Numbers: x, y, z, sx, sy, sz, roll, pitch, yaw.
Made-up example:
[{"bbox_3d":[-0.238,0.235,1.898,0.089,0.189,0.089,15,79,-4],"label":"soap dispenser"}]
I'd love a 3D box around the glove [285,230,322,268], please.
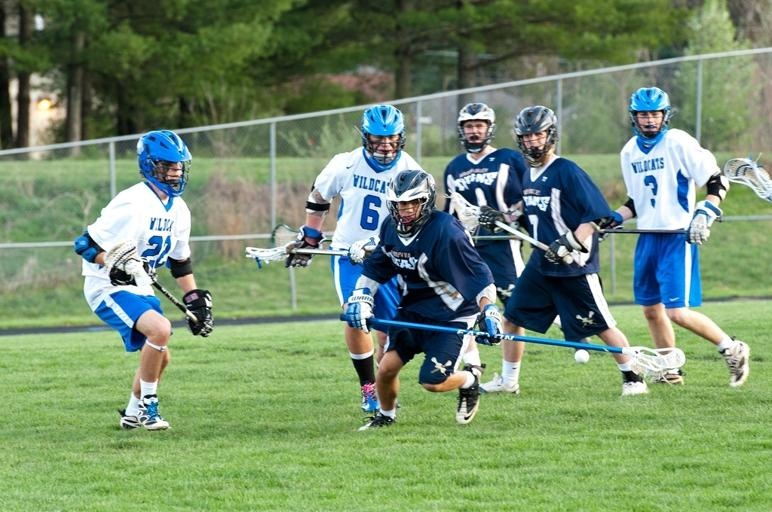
[{"bbox_3d":[-1.016,-0.070,16.037,0.315,0.558,0.261,36,6,26],"label":"glove"}]

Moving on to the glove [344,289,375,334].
[{"bbox_3d":[-0.281,0.653,14.894,0.391,0.472,0.224,-13,-19,17],"label":"glove"}]

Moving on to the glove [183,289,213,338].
[{"bbox_3d":[-2.320,0.703,15.309,0.421,0.545,0.236,-12,3,-33],"label":"glove"}]

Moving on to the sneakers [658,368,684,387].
[{"bbox_3d":[3.569,1.528,15.635,0.365,0.161,0.154,5,-2,-4],"label":"sneakers"}]

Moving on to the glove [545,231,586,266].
[{"bbox_3d":[2.189,-0.090,15.120,0.495,0.425,0.247,-1,4,6],"label":"glove"}]

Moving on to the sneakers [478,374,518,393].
[{"bbox_3d":[1.438,1.617,15.748,0.540,0.231,0.188,5,-8,1],"label":"sneakers"}]

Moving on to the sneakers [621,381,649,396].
[{"bbox_3d":[3.066,1.646,15.376,0.396,0.163,0.131,1,-5,-16],"label":"sneakers"}]

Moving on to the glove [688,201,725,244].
[{"bbox_3d":[3.955,-0.365,15.519,0.370,0.563,0.242,25,-11,30],"label":"glove"}]

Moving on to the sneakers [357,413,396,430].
[{"bbox_3d":[-0.072,1.988,14.897,0.503,0.214,0.165,-2,25,-11],"label":"sneakers"}]

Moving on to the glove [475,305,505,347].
[{"bbox_3d":[1.238,0.821,14.631,0.213,0.448,0.332,-3,-29,21],"label":"glove"}]

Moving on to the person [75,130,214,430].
[{"bbox_3d":[-2.881,0.280,15.080,1.486,3.596,0.708,-3,4,-14],"label":"person"}]

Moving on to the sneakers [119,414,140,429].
[{"bbox_3d":[-3.055,1.993,15.028,0.254,0.156,0.128,0,3,5],"label":"sneakers"}]

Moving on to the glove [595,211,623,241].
[{"bbox_3d":[2.796,-0.384,15.552,0.237,0.252,0.662,0,-3,11],"label":"glove"}]

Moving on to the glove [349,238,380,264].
[{"bbox_3d":[-0.254,-0.094,15.311,0.263,0.348,0.172,34,-21,36],"label":"glove"}]

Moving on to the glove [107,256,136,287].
[{"bbox_3d":[-3.101,0.173,14.792,0.285,0.341,0.204,-3,4,-13],"label":"glove"}]
